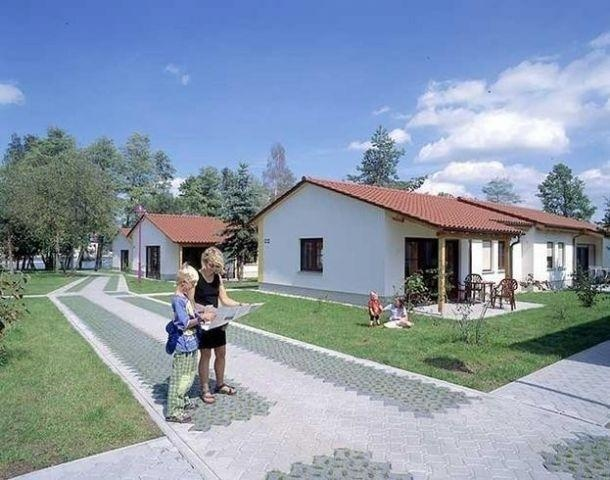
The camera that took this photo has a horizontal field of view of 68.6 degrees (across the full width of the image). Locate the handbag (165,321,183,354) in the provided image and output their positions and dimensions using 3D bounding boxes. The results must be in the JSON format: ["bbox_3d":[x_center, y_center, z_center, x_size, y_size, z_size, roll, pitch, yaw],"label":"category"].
[{"bbox_3d":[-1.919,1.423,6.430,0.204,0.537,0.334,-5,8,-43],"label":"handbag"}]

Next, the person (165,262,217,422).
[{"bbox_3d":[-1.737,1.483,6.412,0.414,2.163,0.547,5,7,40],"label":"person"}]

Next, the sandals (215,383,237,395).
[{"bbox_3d":[-1.283,2.420,7.263,0.287,0.141,0.167,0,2,-4],"label":"sandals"}]

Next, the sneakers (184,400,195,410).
[{"bbox_3d":[-1.719,2.448,6.661,0.140,0.052,0.134,1,2,3],"label":"sneakers"}]

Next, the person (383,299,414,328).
[{"bbox_3d":[2.555,2.047,12.181,0.898,1.163,0.753,-1,-2,14],"label":"person"}]

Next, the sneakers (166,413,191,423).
[{"bbox_3d":[-1.781,2.526,6.322,0.325,0.163,0.139,1,-3,-4],"label":"sneakers"}]
